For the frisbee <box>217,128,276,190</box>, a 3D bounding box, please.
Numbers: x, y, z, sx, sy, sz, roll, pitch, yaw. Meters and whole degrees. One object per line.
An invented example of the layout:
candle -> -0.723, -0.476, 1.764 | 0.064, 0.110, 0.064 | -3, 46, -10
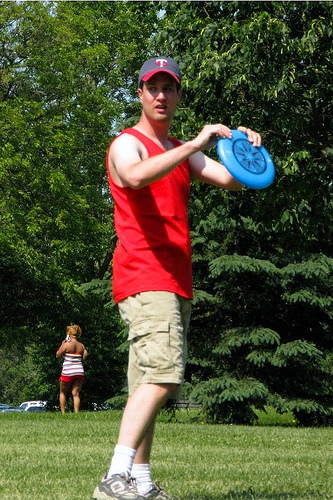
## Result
frisbee -> 0.382, -0.431, 3.264 | 0.083, 0.296, 0.326 | -41, -25, 31

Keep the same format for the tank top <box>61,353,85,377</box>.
tank top -> -1.607, 1.955, 11.603 | 0.347, 0.407, 0.325 | 2, -7, -11

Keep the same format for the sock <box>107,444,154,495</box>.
sock -> -0.158, 0.945, 2.941 | 0.186, 0.250, 0.394 | 0, -7, 3

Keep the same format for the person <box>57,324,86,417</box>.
person -> -1.664, 2.092, 11.755 | 0.448, 1.622, 1.126 | 2, -7, -8

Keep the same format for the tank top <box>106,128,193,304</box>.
tank top -> -0.080, -0.161, 3.139 | 0.401, 0.801, 0.321 | 1, -7, -1
